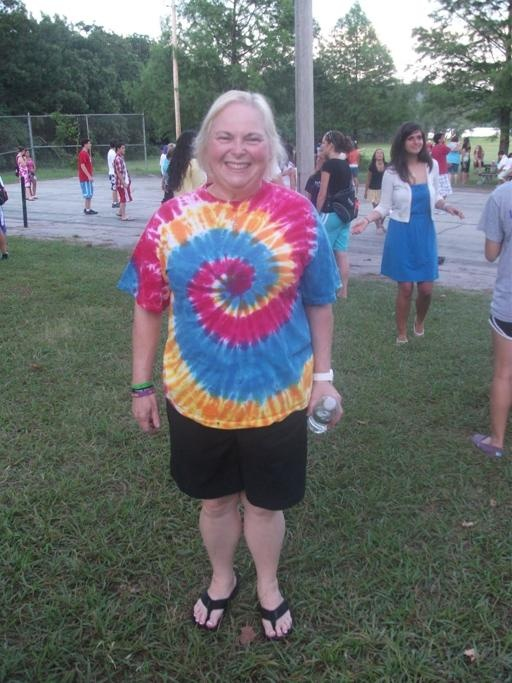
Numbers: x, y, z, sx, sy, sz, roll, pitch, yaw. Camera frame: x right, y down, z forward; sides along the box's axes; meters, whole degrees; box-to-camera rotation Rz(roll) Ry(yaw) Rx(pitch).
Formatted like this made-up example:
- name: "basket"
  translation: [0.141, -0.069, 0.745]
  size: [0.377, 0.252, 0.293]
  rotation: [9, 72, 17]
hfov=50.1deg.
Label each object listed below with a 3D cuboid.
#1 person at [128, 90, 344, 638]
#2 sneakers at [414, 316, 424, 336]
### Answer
- name: "person"
  translation: [-0.075, 0.145, 1.676]
  size: [0.666, 1.707, 0.330]
  rotation: [2, 15, 8]
- name: "sneakers"
  translation: [1.556, -0.132, 5.191]
  size: [0.074, 0.228, 0.091]
  rotation: [1, 1, 5]
